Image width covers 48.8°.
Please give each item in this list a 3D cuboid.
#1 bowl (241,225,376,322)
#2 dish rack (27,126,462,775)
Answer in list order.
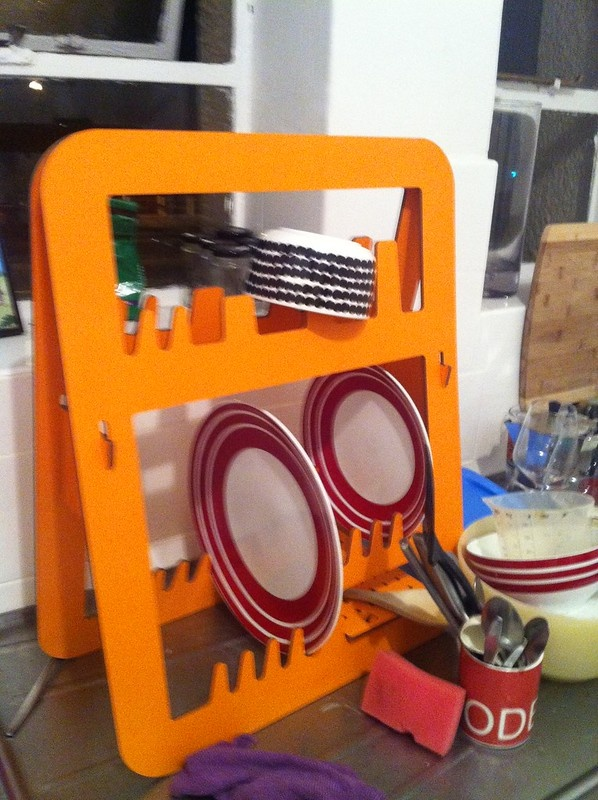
[{"bbox_3d":[0.005,-0.110,0.567,0.118,0.067,0.121,10,8,-1],"label":"bowl"},{"bbox_3d":[-0.017,0.021,0.597,0.378,0.482,0.155,-12,21,-31],"label":"dish rack"}]
